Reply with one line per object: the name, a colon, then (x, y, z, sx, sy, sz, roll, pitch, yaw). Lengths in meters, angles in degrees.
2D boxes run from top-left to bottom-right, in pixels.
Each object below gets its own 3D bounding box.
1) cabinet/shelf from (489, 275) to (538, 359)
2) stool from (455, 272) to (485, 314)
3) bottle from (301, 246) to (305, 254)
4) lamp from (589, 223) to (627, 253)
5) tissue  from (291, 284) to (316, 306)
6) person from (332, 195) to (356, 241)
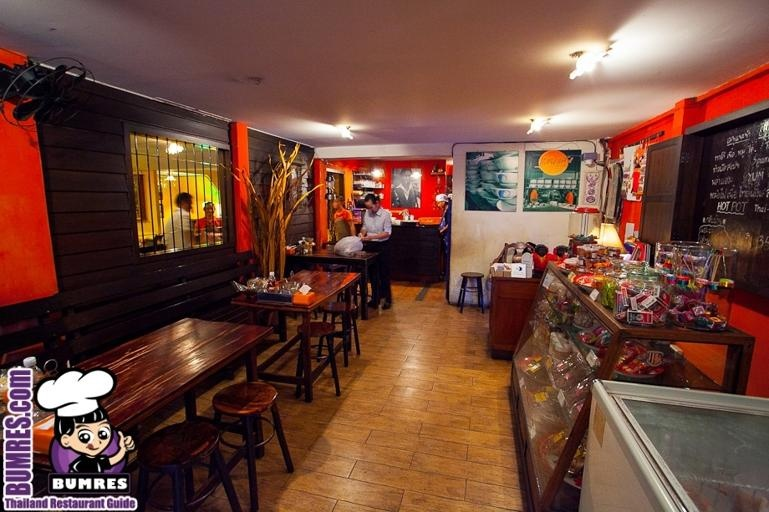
cabinet/shelf: (1.580, 0.649, 6.076, 0.770, 1.144, 1.227, 1, 2, 12)
stool: (1.400, 0.550, 7.584, 0.441, 0.615, 0.629, 3, 10, 9)
bottle: (-1.242, -0.086, 7.208, 0.087, 0.159, 0.091, 1, 4, 0)
lamp: (2.372, -0.198, 5.049, 0.423, 0.367, 0.439, 1, 15, 26)
tissue : (-0.795, 0.362, 4.587, 0.155, 0.152, 0.224, 1, 3, 7)
person: (-0.695, -0.646, 8.147, 0.302, 0.727, 1.244, 1, 10, -5)
